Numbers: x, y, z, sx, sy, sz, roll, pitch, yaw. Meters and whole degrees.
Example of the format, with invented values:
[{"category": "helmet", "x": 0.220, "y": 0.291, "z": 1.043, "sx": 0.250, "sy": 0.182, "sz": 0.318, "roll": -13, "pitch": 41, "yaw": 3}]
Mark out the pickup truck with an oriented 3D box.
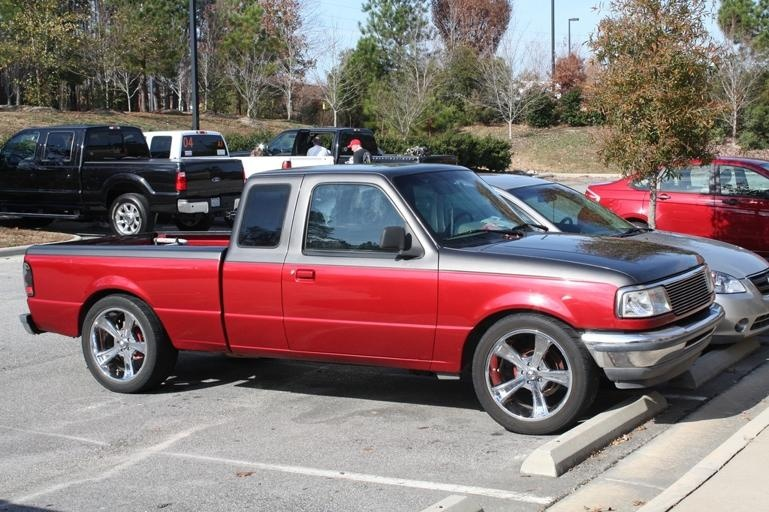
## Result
[{"category": "pickup truck", "x": -0.425, "y": 0.253, "z": 6.103, "sx": 7.055, "sy": 1.739, "sz": 2.749, "roll": 0, "pitch": 4, "yaw": 21}]
